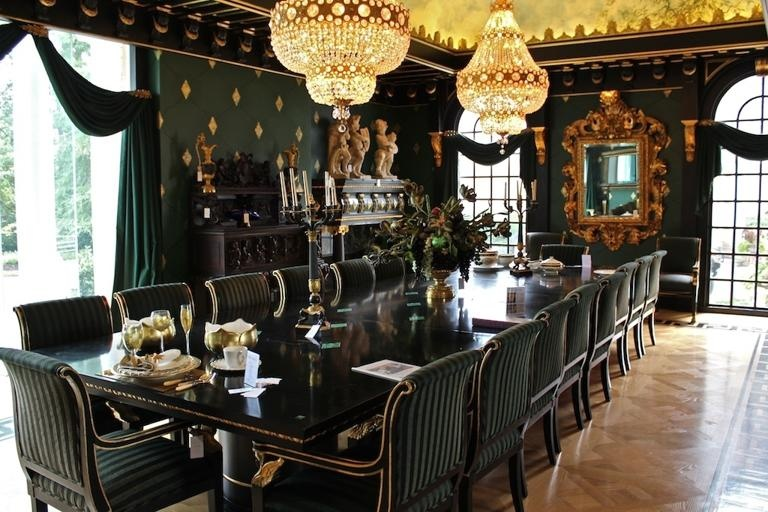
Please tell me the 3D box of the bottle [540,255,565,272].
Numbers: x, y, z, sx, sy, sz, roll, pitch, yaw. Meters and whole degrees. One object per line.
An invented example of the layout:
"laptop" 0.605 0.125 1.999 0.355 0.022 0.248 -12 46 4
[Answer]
"bottle" 1.833 0.106 6.491 0.203 0.114 0.182 -1 -3 20

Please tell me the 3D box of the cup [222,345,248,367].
"cup" -0.916 0.625 3.664 0.118 0.096 0.156 -2 -1 5

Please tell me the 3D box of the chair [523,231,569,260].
"chair" 2.401 -0.166 8.914 0.476 0.565 0.461 -3 2 20

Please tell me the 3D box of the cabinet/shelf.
"cabinet/shelf" -1.608 -0.257 6.664 0.360 0.786 1.154 2 6 32

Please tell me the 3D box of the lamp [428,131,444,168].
"lamp" 0.883 -1.784 9.979 0.212 0.596 0.113 11 17 39

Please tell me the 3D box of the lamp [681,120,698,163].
"lamp" 4.329 -1.630 8.462 0.210 0.607 0.086 4 14 18

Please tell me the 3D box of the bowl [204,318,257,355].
"bowl" -1.048 0.577 4.049 0.404 0.232 0.384 -1 3 0

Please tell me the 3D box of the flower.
"flower" 0.596 -0.162 5.397 1.019 0.713 0.893 1 1 -38
